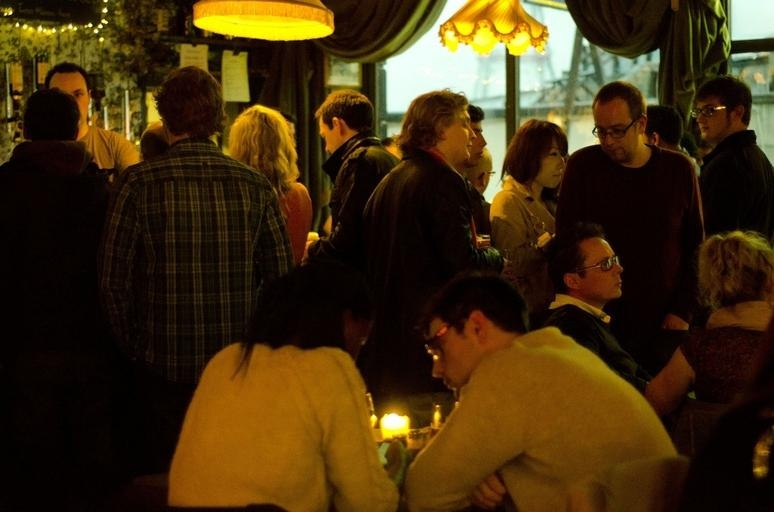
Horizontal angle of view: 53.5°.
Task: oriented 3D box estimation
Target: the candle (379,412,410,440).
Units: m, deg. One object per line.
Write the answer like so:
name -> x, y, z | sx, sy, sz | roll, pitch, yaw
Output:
candle -> 0.032, 0.679, 3.047 | 0.094, 0.076, 0.097 | 0, -11, -4

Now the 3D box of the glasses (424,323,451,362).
glasses -> 0.185, 0.288, 2.555 | 0.036, 0.120, 0.111 | -8, 8, -15
